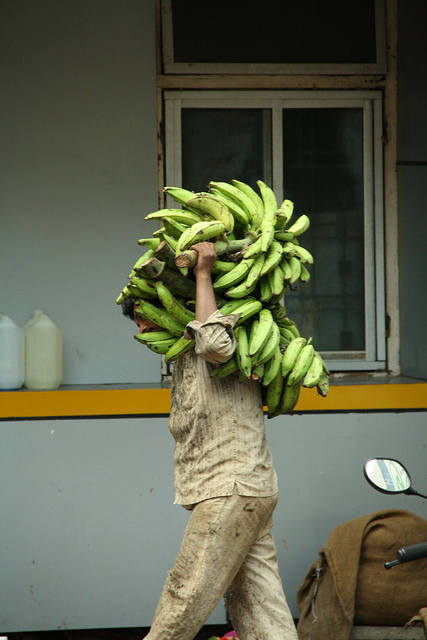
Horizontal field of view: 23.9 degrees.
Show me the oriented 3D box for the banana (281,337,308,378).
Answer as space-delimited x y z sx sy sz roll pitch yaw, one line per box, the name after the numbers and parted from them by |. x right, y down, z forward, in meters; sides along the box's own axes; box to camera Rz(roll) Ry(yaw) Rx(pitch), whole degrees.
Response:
0.338 0.153 4.289 0.061 0.067 0.205 -33 13 41 | banana

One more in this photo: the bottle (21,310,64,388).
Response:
-0.986 0.174 5.820 0.216 0.450 0.126 -2 -3 -12 | bottle

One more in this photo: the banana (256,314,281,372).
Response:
0.264 0.087 4.174 0.069 0.093 0.259 16 38 10 | banana

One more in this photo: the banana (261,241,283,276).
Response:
0.256 -0.263 4.232 0.068 0.051 0.193 -10 34 30 | banana

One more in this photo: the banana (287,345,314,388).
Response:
0.373 0.188 4.266 0.062 0.074 0.219 22 47 14 | banana

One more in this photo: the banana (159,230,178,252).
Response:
-0.185 -0.326 4.148 0.071 0.094 0.112 -2 -3 -3 | banana

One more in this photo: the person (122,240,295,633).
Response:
0.030 0.501 4.227 0.469 1.638 0.535 -4 -3 23 | person

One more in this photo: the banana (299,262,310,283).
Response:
0.394 -0.205 4.368 0.033 0.089 0.028 -8 -35 15 | banana

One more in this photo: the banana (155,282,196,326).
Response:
-0.154 -0.069 4.179 0.051 0.189 0.064 -34 18 42 | banana

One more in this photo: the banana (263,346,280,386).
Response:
0.254 0.195 4.233 0.059 0.177 0.048 0 -21 45 | banana

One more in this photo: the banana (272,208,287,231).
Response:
0.285 -0.432 4.287 0.045 0.036 0.119 -37 -22 -15 | banana

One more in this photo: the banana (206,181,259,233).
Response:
0.081 -0.476 4.279 0.280 0.094 0.068 38 -33 3 | banana

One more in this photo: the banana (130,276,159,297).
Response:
-0.282 -0.147 4.223 0.173 0.047 0.062 16 31 11 | banana

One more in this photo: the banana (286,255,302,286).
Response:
0.342 -0.218 4.270 0.076 0.138 0.033 26 -49 -23 | banana

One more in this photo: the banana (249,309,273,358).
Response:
0.183 0.014 4.160 0.097 0.285 0.077 -31 -51 29 | banana

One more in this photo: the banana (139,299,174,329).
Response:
-0.259 -0.031 4.211 0.194 0.063 0.053 38 -24 -5 | banana

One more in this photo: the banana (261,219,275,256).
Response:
0.234 -0.339 4.176 0.040 0.056 0.167 2 33 7 | banana

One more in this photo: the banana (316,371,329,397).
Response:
0.476 0.273 4.345 0.050 0.091 0.026 21 -28 -33 | banana

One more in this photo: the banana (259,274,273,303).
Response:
0.224 -0.133 4.235 0.035 0.137 0.049 -3 -20 1 | banana

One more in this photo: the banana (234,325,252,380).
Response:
0.109 0.134 4.112 0.047 0.233 0.079 -23 -28 40 | banana

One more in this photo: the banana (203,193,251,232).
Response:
0.052 -0.459 4.230 0.256 0.070 0.051 31 33 15 | banana

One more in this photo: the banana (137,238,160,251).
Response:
-0.270 -0.314 4.151 0.125 0.037 0.046 -4 -4 -27 | banana

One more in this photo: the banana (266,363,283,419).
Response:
0.277 0.307 4.324 0.084 0.239 0.050 6 6 43 | banana

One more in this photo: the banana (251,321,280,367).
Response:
0.230 0.109 4.140 0.082 0.128 0.273 -3 -45 -12 | banana

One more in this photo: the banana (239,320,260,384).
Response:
0.132 0.111 4.146 0.061 0.299 0.104 13 -32 9 | banana

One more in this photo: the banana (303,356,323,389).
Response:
0.435 0.224 4.259 0.051 0.054 0.161 31 40 1 | banana

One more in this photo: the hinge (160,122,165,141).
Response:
-0.303 -1.133 6.004 0.022 0.091 0.081 0 -5 11 | hinge

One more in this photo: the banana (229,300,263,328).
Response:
0.135 -0.034 4.147 0.052 0.057 0.197 -14 15 27 | banana

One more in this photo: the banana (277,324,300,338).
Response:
0.343 0.043 4.518 0.095 0.049 0.027 35 11 -43 | banana

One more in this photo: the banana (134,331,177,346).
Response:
-0.259 0.080 4.294 0.206 0.060 0.067 -6 -10 -7 | banana

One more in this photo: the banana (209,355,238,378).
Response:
0.051 0.191 4.092 0.047 0.058 0.160 18 -44 -43 | banana

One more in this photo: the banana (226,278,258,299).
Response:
0.132 -0.127 4.192 0.098 0.072 0.184 -4 -4 22 | banana

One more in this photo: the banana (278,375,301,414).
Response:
0.332 0.337 4.321 0.071 0.202 0.053 13 27 10 | banana
